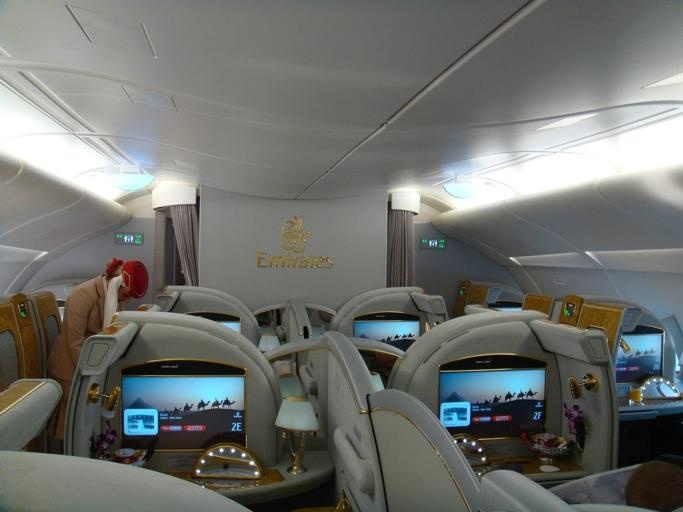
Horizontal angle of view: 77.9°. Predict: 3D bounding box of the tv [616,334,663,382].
[{"bbox_3d":[2.811,0.956,4.021,0.498,0.487,0.052,0,2,-8],"label":"tv"}]
